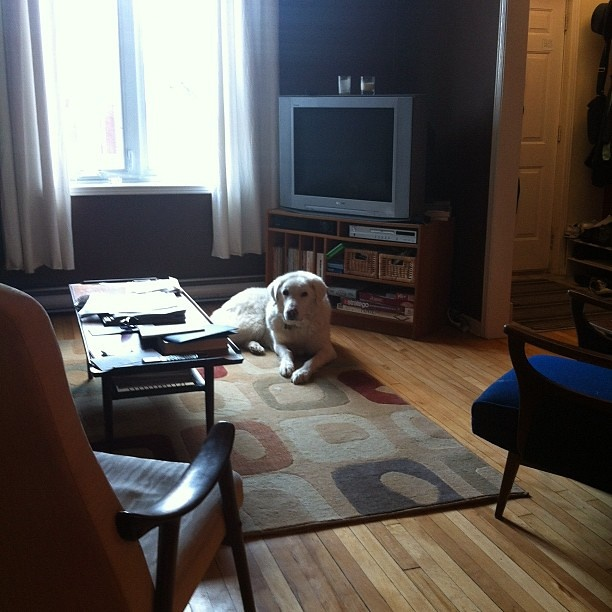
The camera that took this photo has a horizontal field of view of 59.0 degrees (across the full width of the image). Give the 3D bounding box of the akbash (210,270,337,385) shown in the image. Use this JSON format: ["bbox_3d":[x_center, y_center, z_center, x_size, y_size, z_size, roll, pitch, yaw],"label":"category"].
[{"bbox_3d":[-0.188,0.058,3.609,0.731,0.587,1.252,1,8,-26],"label":"akbash"}]

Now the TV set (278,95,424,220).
[{"bbox_3d":[0.358,-1.078,3.860,0.908,0.722,0.488,9,20,30],"label":"TV set"}]
